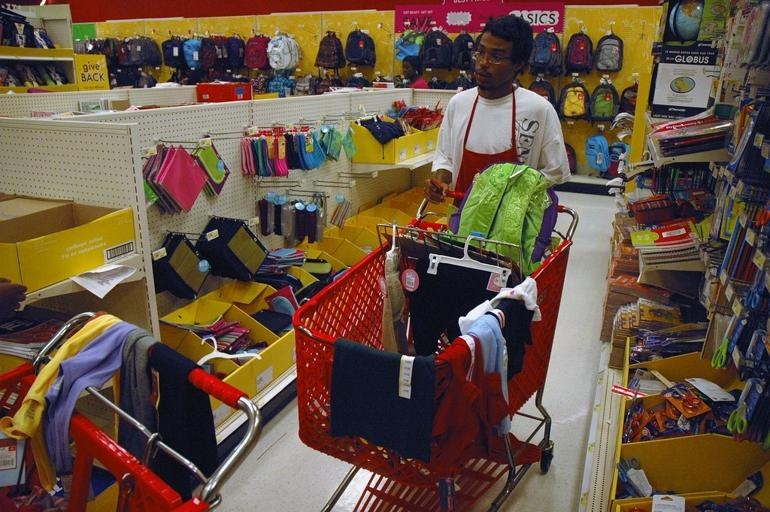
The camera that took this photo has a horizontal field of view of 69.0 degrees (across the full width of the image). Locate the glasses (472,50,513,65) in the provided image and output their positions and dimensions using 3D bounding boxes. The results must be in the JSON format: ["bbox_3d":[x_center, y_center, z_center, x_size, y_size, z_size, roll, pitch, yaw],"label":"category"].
[{"bbox_3d":[0.715,-1.327,3.697,0.253,0.114,0.116,1,24,10],"label":"glasses"}]

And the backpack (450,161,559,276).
[{"bbox_3d":[0.651,-0.187,3.038,0.506,0.535,0.280,22,4,18],"label":"backpack"}]
